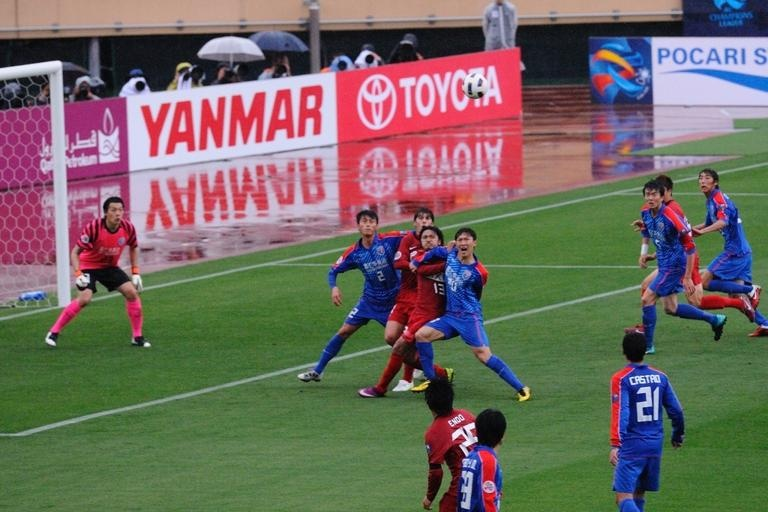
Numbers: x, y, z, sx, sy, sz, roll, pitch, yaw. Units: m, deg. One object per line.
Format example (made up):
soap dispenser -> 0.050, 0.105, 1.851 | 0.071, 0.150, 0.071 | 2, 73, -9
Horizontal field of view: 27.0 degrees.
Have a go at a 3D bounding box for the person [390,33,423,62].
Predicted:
person -> 0.665, -5.926, 45.936 | 1.104, 0.546, 1.506 | 0, 9, 0

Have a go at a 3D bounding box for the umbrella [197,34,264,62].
umbrella -> -4.298, -5.675, 44.374 | 1.336, 0.508, 1.236 | 0, 11, 8

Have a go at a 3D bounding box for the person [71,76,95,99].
person -> -7.477, -4.082, 39.265 | 0.577, 0.589, 1.656 | -6, 6, -11

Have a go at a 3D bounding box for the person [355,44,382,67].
person -> -0.422, -5.654, 45.522 | 0.795, 0.407, 1.047 | -3, -2, -1

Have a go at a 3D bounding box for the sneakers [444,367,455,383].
sneakers -> 1.077, 1.898, 25.126 | 0.173, 0.187, 0.212 | 0, 0, 3

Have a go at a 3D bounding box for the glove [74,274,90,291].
glove -> -5.008, 0.456, 26.449 | 0.220, 0.229, 0.270 | 1, -1, -18

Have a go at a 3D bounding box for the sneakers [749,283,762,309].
sneakers -> 6.280, 0.685, 26.594 | 0.243, 0.442, 0.176 | -5, 22, 6

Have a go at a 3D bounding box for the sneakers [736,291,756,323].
sneakers -> 6.112, 0.854, 26.476 | 0.264, 0.520, 0.189 | -26, -34, -6

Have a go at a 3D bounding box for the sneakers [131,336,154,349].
sneakers -> -4.041, 1.469, 26.796 | 0.402, 0.142, 0.151 | -1, 2, 31

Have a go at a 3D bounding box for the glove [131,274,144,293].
glove -> -4.231, 0.506, 27.282 | 0.130, 0.314, 0.239 | -26, 4, 10

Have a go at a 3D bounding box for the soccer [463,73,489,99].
soccer -> 2.552, -4.640, 43.632 | 0.877, 0.725, 0.800 | 8, -9, 3

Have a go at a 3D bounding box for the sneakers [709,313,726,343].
sneakers -> 5.604, 1.200, 26.421 | 0.294, 0.480, 0.188 | 0, 22, 4

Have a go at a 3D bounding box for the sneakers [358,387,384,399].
sneakers -> -0.181, 2.173, 24.982 | 0.384, 0.136, 0.172 | 4, -8, 7

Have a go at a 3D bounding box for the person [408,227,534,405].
person -> 1.273, 0.959, 24.314 | 1.571, 2.749, 0.541 | -5, 7, 1

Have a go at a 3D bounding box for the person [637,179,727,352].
person -> 4.737, 0.170, 25.929 | 1.065, 2.828, 1.168 | -4, 7, 9

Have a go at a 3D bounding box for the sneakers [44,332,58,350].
sneakers -> -5.599, 1.429, 26.777 | 0.380, 0.173, 0.131 | 14, -3, 39
